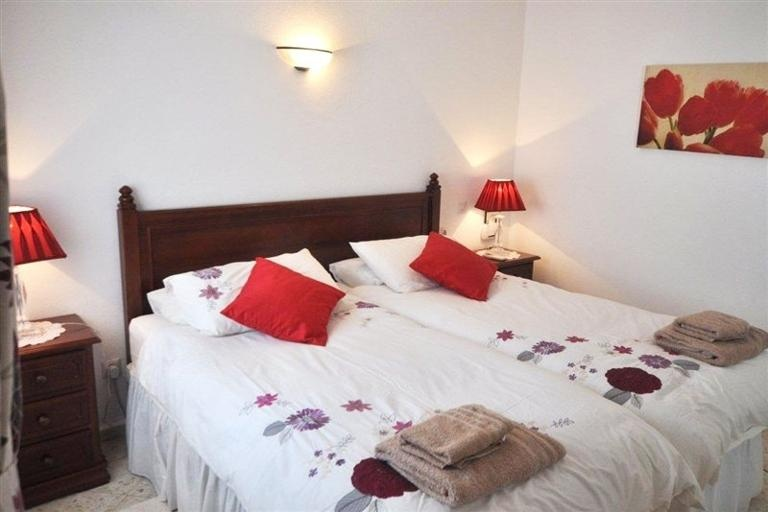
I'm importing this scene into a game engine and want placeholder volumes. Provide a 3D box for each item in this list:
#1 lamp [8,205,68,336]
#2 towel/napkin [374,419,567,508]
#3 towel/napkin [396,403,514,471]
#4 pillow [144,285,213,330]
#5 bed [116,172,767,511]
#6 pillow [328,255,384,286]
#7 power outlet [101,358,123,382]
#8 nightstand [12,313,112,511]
[{"bbox_3d":[-1.941,0.036,2.954,0.290,0.660,0.335,-11,10,-30],"label":"lamp"},{"bbox_3d":[0.422,0.815,2.048,0.433,0.096,0.370,-11,16,-37],"label":"towel/napkin"},{"bbox_3d":[0.307,0.700,2.101,0.297,0.074,0.219,-7,10,-37],"label":"towel/napkin"},{"bbox_3d":[-1.219,0.330,3.195,0.582,0.250,0.119,1,11,40],"label":"pillow"},{"bbox_3d":[0.272,0.453,2.971,1.885,1.128,1.854,-8,12,-37],"label":"bed"},{"bbox_3d":[-0.217,0.122,3.864,0.255,0.114,0.248,1,32,-46],"label":"pillow"},{"bbox_3d":[-1.738,0.723,3.353,0.171,0.153,0.089,0,0,-43],"label":"power outlet"},{"bbox_3d":[-1.846,0.886,3.008,0.506,0.940,0.266,-11,11,-31],"label":"nightstand"}]
